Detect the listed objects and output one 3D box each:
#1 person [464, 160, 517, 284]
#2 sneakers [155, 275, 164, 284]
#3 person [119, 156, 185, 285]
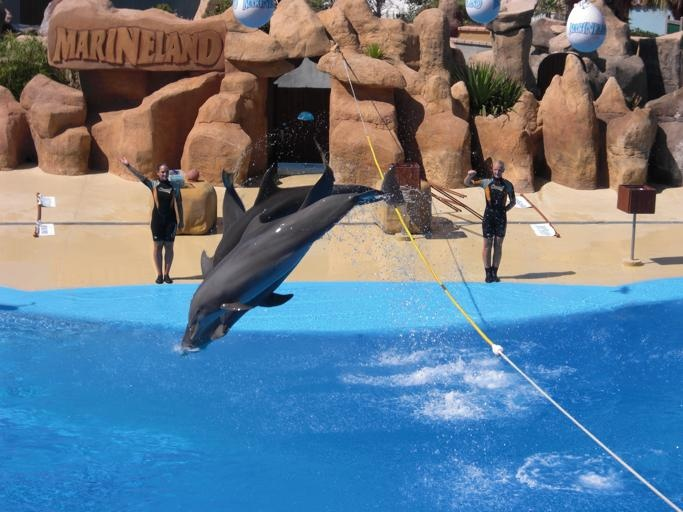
[{"bbox_3d":[2.232,-0.567,14.321,0.685,1.789,0.664,4,12,10],"label":"person"},{"bbox_3d":[-2.726,0.340,14.144,0.074,0.098,0.142,-1,11,-19],"label":"sneakers"},{"bbox_3d":[-2.751,-0.530,14.264,0.736,1.744,0.822,-1,12,-13],"label":"person"}]
